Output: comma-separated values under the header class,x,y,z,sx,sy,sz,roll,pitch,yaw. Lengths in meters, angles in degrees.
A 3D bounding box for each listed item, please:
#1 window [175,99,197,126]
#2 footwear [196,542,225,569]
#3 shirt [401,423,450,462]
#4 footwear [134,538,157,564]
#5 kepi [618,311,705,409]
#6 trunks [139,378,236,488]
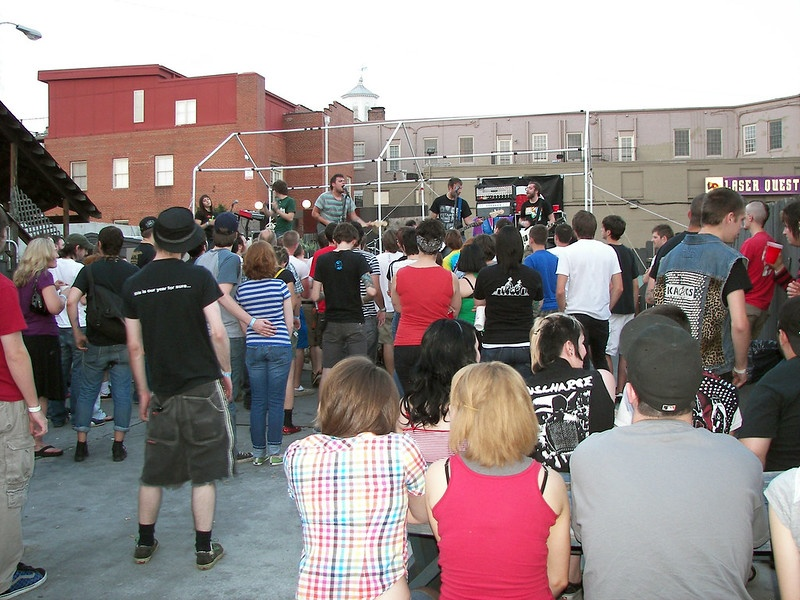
class,x,y,z,sx,sy,sz,roll,pitch,yaw
window,-8.554,-7.607,34.681,1.006,1.178,0.156,2,1,8
footwear,-1.349,1.823,6.178,0.081,0.106,0.245,0,6,10
shirt,0.176,0.914,5.804,0.344,0.364,0.189,1,1,11
footwear,-1.822,1.798,6.169,0.076,0.082,0.219,0,2,-2
kepi,1.481,0.337,4.813,0.411,0.319,0.628,5,23,15
trunks,-1.568,0.904,6.290,0.612,0.825,0.426,2,7,4
